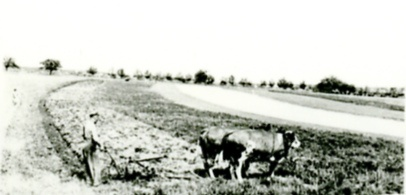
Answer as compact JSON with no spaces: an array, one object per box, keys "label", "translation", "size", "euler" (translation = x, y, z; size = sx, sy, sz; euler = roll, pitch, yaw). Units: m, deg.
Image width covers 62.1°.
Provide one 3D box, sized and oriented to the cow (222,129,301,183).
[{"label":"cow","translation":[3.224,3.434,19.773],"size":[3.589,1.960,1.218],"euler":[0,-1,-12]}]
